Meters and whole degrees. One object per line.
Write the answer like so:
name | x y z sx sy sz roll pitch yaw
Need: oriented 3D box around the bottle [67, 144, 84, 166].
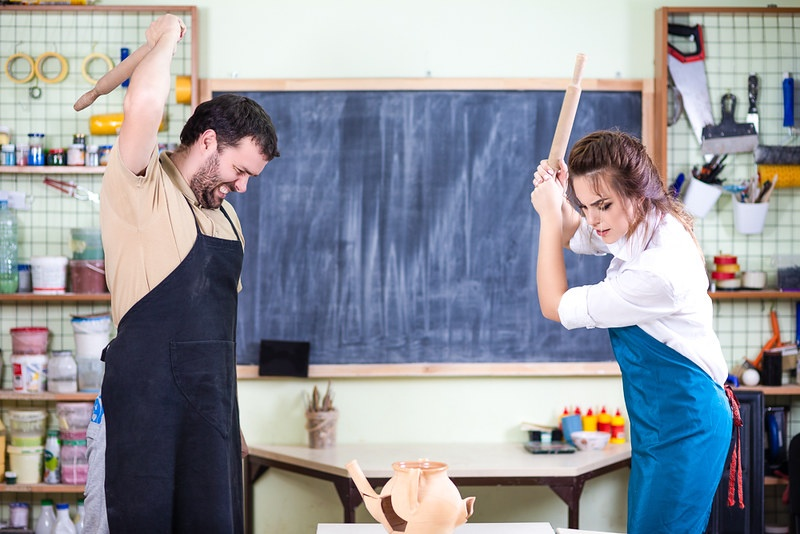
bottle | -1.736 -0.601 5.210 0.104 0.114 0.105 4 -4 -33

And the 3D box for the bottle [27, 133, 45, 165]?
bottle | -1.969 -0.637 5.262 0.091 0.178 0.195 -2 5 -19

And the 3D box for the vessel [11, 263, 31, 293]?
vessel | -2.023 0.065 5.241 0.120 0.190 0.122 0 -1 0

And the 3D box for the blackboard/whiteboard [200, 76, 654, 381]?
blackboard/whiteboard | 0.047 -0.198 4.916 1.620 1.120 0.041 0 1 2

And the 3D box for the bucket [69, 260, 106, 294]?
bucket | -1.663 0.056 5.181 0.173 0.137 0.182 0 -1 0

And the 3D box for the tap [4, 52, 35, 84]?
tap | -2.078 -1.083 5.349 0.164 0.168 0.064 8 -1 -3

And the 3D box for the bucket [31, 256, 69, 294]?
bucket | -1.872 0.046 5.190 0.188 0.206 0.190 1 0 0

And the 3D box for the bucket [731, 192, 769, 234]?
bucket | 1.882 -0.293 5.274 0.164 0.165 0.207 1 -6 4

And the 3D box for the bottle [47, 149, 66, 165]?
bottle | -1.843 -0.589 5.213 0.088 0.084 0.089 0 0 4

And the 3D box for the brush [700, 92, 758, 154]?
brush | 1.798 -0.780 5.310 0.333 0.341 0.036 0 0 4
